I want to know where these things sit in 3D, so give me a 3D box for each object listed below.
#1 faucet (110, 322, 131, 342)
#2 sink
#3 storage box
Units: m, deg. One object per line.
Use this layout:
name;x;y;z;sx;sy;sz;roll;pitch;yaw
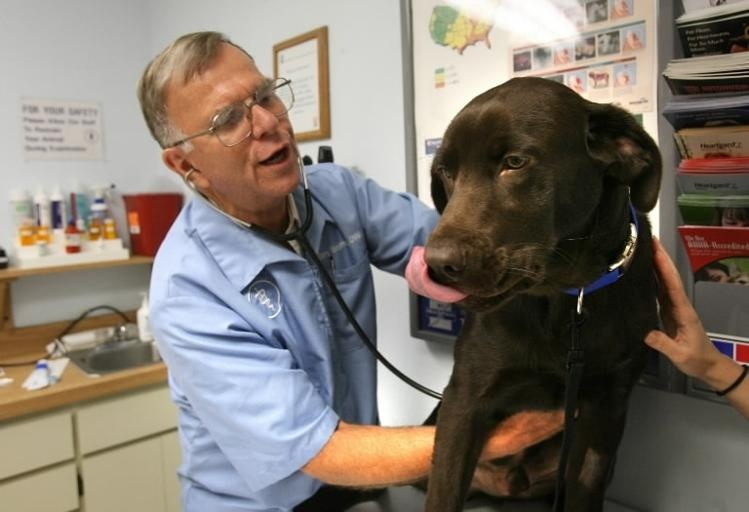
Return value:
faucet;-1.241;0.371;3.030;0.092;0.074;0.073;-3;-1;-30
sink;-1.183;0.453;2.773;0.287;0.107;0.201;-10;14;-44
storage box;-1.114;-0.171;3.294;0.328;0.391;0.353;0;0;43
